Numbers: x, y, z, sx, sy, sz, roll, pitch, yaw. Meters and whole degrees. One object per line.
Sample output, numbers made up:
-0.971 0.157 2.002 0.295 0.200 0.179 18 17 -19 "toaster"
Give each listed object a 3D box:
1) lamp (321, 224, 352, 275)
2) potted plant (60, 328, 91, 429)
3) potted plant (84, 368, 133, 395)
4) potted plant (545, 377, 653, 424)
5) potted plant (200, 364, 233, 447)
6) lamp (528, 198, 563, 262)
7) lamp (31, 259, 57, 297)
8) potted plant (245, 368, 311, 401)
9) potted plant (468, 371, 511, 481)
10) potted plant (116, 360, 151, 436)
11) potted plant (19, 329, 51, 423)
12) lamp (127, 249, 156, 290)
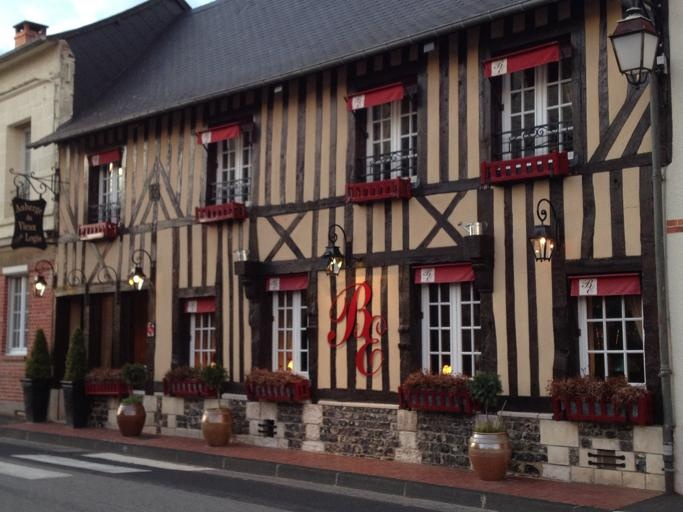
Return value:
-0.068 -0.129 17.879 0.494 0.866 0.606 1 -9 -2 "lamp"
-5.105 2.344 20.849 0.531 1.900 0.336 3 -8 -16 "potted plant"
-4.505 2.428 20.603 0.552 0.384 0.613 -2 -8 13 "potted plant"
3.736 2.050 15.534 0.903 0.469 0.708 -3 -5 30 "potted plant"
-2.133 2.561 18.672 0.512 1.424 0.965 2 -9 -8 "potted plant"
3.029 -0.409 16.035 0.429 0.953 0.394 -1 -9 12 "lamp"
-6.209 0.451 22.323 0.389 0.817 0.738 9 -12 -43 "lamp"
-1.084 2.183 18.285 1.208 0.562 0.345 -5 -10 32 "potted plant"
2.197 2.498 15.959 0.565 1.671 0.597 3 -4 -25 "potted plant"
-3.826 2.626 19.828 0.496 1.344 1.107 2 -9 -10 "potted plant"
-5.982 2.312 21.475 0.526 1.755 0.503 4 -7 -45 "potted plant"
-3.760 0.263 20.479 0.400 0.971 0.538 -13 -21 37 "lamp"
